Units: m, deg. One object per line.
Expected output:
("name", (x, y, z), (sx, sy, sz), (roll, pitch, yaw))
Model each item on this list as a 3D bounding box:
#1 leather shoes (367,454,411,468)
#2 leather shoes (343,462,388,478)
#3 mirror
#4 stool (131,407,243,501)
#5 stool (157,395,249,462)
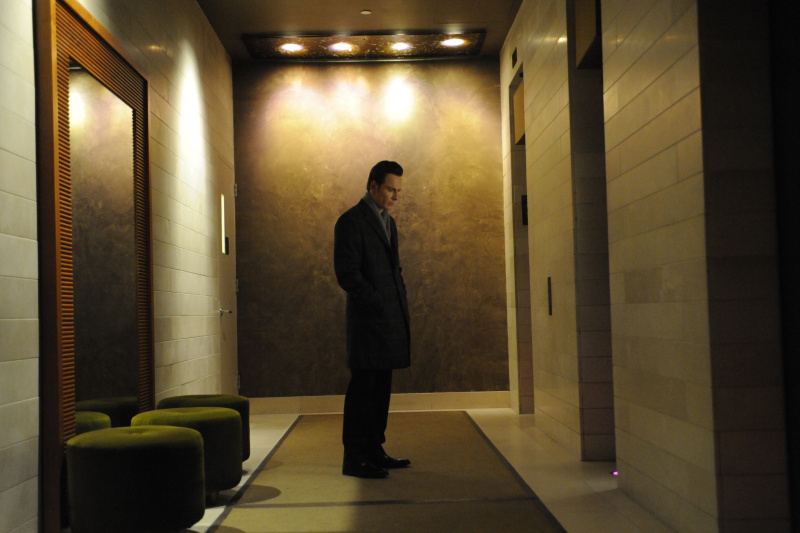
("leather shoes", (-0.080, 1.301, 4.016), (0.291, 0.122, 0.100), (1, -7, -9))
("leather shoes", (-0.235, 1.318, 3.863), (0.298, 0.127, 0.101), (-1, -6, 12))
("mirror", (-1.802, -0.210, 3.621), (0.076, 2.072, 1.795), (-1, -3, -16))
("stool", (-1.224, 1.105, 3.505), (0.564, 0.473, 0.564), (-8, -6, 40))
("stool", (-1.287, 0.982, 3.865), (0.515, 0.341, 0.518), (1, -6, -1))
